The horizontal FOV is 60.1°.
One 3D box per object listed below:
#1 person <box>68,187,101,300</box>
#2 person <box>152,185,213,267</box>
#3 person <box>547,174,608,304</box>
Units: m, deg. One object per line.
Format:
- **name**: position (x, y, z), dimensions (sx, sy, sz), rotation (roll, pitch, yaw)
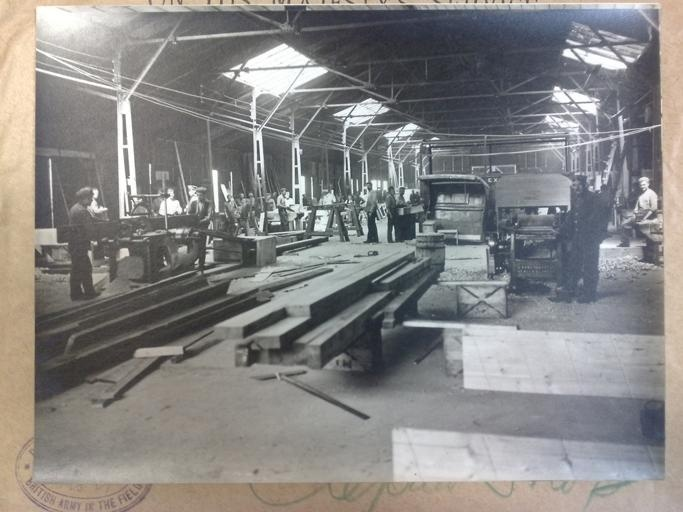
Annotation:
- **person**: position (-2.961, -0.139, 6.698), dimensions (0.351, 1.250, 0.266), rotation (-7, 7, -24)
- **person**: position (-1.945, -0.460, 7.725), dimensions (0.759, 0.907, 1.249), rotation (-1, 20, -1)
- **person**: position (3.052, -0.258, 7.502), dimensions (0.501, 1.500, 1.057), rotation (0, 7, 30)
